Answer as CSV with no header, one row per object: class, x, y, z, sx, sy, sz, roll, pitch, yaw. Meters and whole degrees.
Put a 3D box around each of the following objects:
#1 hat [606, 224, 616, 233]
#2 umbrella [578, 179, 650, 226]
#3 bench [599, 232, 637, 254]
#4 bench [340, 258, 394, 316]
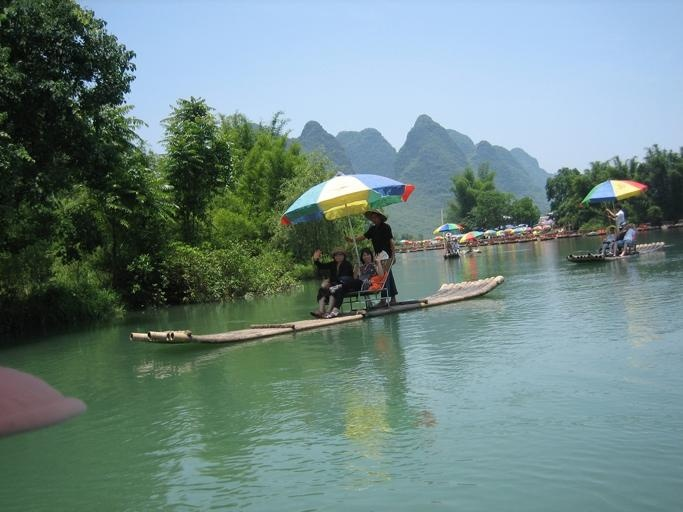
hat,14.449,-1.467,30.897,0.420,0.431,0.106,0,11,-16
umbrella,14.109,-2.969,29.770,2.616,1.952,4.060,-2,6,26
bench,14.721,-0.750,31.006,2.366,1.397,1.045,-11,10,-35
bench,0.705,0.755,17.023,1.484,1.201,1.815,-11,6,-19
